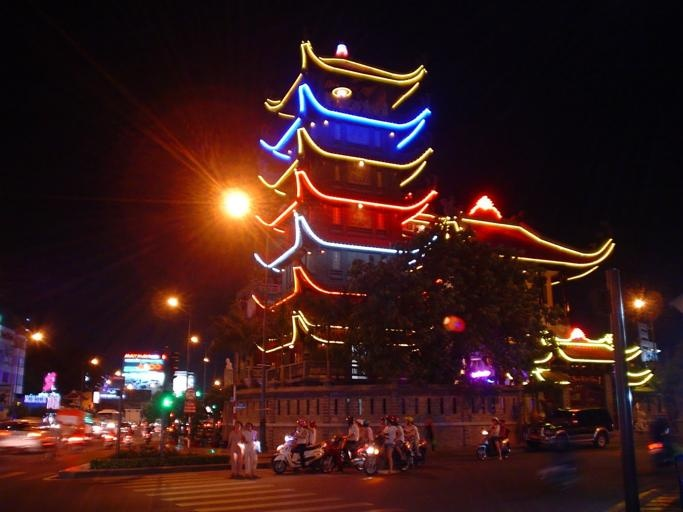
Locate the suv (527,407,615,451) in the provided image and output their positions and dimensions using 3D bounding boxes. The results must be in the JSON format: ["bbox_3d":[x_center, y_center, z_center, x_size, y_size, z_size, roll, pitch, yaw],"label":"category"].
[{"bbox_3d":[14.142,10.643,38.185,4.991,2.505,1.748,6,-22,-13],"label":"suv"}]

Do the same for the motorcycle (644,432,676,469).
[{"bbox_3d":[13.694,8.214,26.372,0.962,1.368,3.121,-11,-26,26],"label":"motorcycle"}]
